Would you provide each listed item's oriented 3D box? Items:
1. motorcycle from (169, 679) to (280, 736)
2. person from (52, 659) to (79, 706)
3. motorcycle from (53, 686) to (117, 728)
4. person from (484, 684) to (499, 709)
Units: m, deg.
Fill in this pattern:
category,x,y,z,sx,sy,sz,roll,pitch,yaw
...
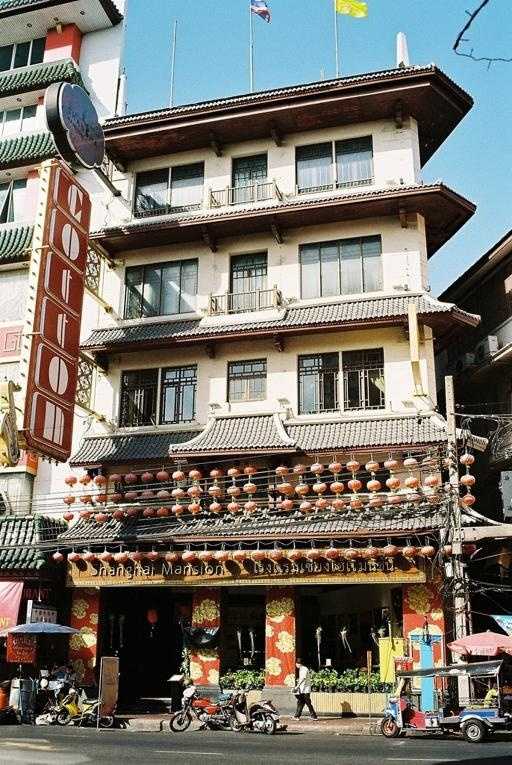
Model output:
category,x,y,z,sx,sy,sz,roll,pitch,yaw
motorcycle,-0.498,7.611,19.294,2.222,1.258,1.149,-4,-27,15
person,-5.071,7.844,21.640,0.963,0.616,0.620,-32,-41,30
motorcycle,-4.180,7.898,20.119,1.816,0.874,0.719,-16,-25,37
person,4.849,6.488,17.090,0.319,0.365,1.298,-6,-20,14
